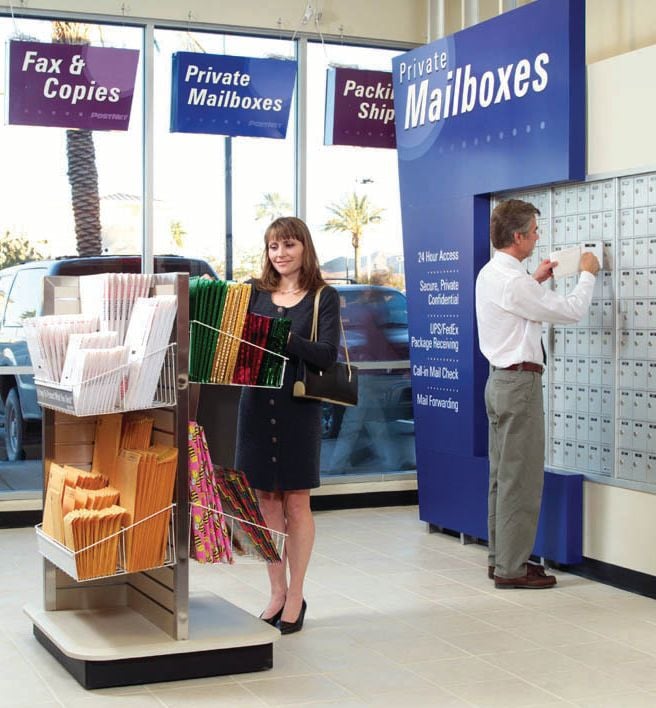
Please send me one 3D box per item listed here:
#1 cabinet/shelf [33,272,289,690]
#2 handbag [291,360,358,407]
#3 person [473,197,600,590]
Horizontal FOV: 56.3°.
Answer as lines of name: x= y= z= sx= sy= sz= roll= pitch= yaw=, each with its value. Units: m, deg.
cabinet/shelf: x=-0.567 y=0.398 z=2.059 sx=0.645 sy=1.240 sz=0.874 roll=6 pitch=-10 yaw=-34
handbag: x=0.013 y=0.103 z=2.278 sx=0.249 sy=0.149 sz=0.062 roll=13 pitch=-6 yaw=-39
person: x=1.002 y=0.208 z=3.172 sx=0.424 sy=1.974 sz=0.701 roll=5 pitch=-9 yaw=-31
